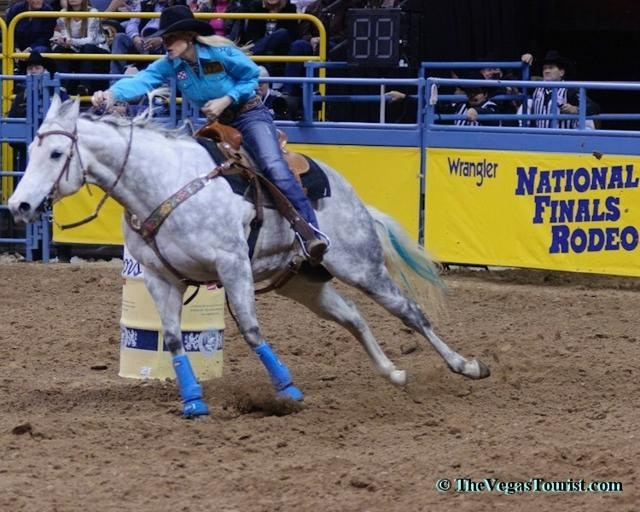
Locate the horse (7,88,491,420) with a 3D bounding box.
[{"bbox_3d":[-0.632,-0.016,8.049,3.125,2.303,0.816,-4,13,-21],"label":"horse"}]

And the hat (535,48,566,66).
[{"bbox_3d":[2.776,-2.325,12.968,0.262,0.192,0.341,2,10,11],"label":"hat"}]

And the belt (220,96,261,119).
[{"bbox_3d":[-0.588,-1.096,8.156,0.243,0.077,0.168,-24,10,-7],"label":"belt"}]

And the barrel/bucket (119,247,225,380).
[{"bbox_3d":[-1.138,0.407,9.008,0.932,1.092,0.934,5,0,0],"label":"barrel/bucket"}]
